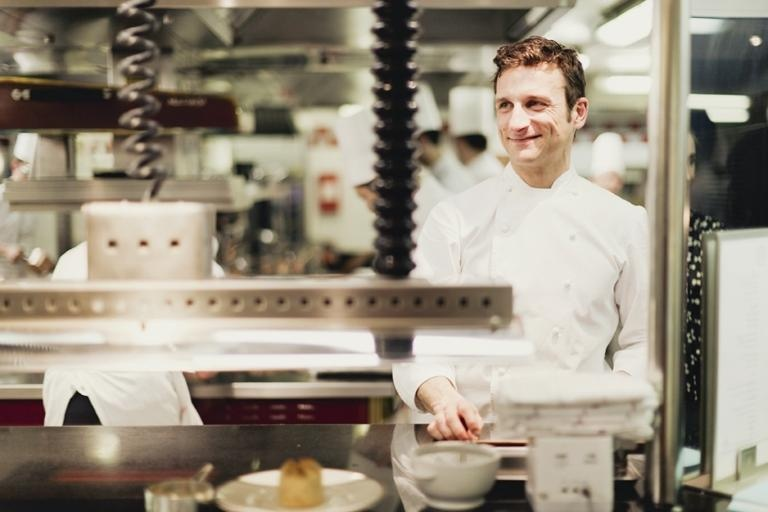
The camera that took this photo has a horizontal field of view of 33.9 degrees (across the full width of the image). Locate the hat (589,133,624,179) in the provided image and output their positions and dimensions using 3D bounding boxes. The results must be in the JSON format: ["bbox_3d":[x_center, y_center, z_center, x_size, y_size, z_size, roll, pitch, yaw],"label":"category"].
[{"bbox_3d":[1.291,-0.534,7.222,0.212,0.301,0.196,11,36,25],"label":"hat"}]

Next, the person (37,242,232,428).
[{"bbox_3d":[-0.765,0.244,3.763,0.782,0.654,0.401,0,-8,-8],"label":"person"}]

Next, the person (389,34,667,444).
[{"bbox_3d":[0.505,-0.114,4.330,0.547,1.120,0.612,12,-20,-39],"label":"person"}]

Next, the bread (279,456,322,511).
[{"bbox_3d":[-0.234,0.638,3.504,0.134,0.110,0.132,5,-8,-44],"label":"bread"}]

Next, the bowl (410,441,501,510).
[{"bbox_3d":[0.197,0.604,3.549,0.182,0.093,0.261,-1,-2,8],"label":"bowl"}]

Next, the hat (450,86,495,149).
[{"bbox_3d":[0.481,-0.777,6.922,0.324,0.380,0.300,-2,5,-9],"label":"hat"}]
